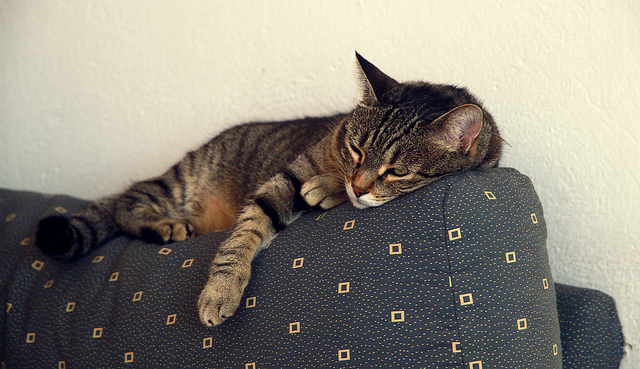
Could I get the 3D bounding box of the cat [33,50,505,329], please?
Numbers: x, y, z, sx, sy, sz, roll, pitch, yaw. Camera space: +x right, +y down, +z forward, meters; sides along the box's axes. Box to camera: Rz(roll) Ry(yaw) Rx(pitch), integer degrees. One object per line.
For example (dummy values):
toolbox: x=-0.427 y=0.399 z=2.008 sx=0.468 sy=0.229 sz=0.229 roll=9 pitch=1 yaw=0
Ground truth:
cat: x=-0.105 y=-0.039 z=3.206 sx=2.048 sy=0.932 sz=1.145 roll=1 pitch=12 yaw=-2
